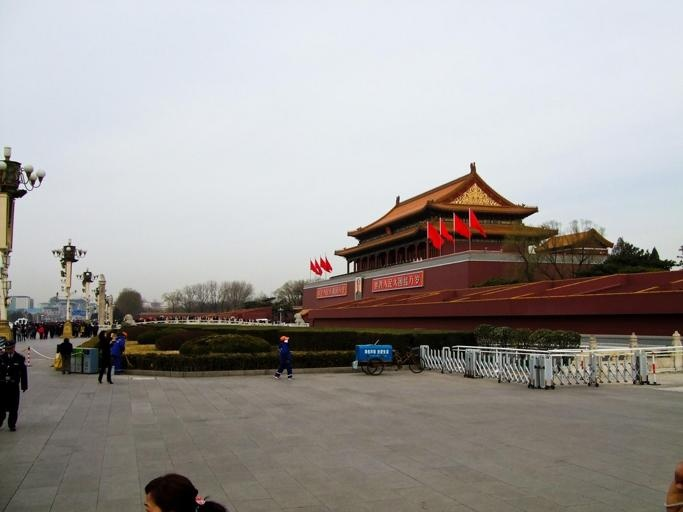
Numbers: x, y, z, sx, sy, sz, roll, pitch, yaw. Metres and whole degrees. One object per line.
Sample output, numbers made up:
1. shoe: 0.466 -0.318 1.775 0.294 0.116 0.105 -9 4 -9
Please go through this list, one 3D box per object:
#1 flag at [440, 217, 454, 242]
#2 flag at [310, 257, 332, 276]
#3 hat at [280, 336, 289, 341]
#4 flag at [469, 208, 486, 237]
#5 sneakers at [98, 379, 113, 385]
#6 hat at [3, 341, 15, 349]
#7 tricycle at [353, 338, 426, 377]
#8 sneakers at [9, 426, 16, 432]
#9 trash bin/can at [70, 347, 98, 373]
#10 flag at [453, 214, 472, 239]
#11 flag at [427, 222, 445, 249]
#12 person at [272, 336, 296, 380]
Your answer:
1. flag: 8.112 -1.964 43.463 0.231 2.512 1.798 -9 -11 38
2. flag: -1.449 0.865 42.922 1.639 1.855 0.127 5 25 15
3. hat: -1.764 2.592 17.634 0.300 0.181 0.432 -2 -11 3
4. flag: 10.251 -2.525 42.673 0.221 2.917 2.041 -16 -22 38
5. sneakers: -6.691 3.617 16.138 0.424 0.196 0.139 4 -1 -29
6. hat: -6.101 1.658 10.420 0.259 0.145 0.314 6 -15 -34
7. tricycle: 1.717 3.581 19.422 2.507 1.001 0.890 1 -6 -8
8. sneakers: -5.656 2.987 9.753 0.112 0.105 0.072 -5 -5 17
9. trash bin/can: -8.519 3.499 18.754 0.732 0.731 0.280 0 -10 -6
10. flag: 8.933 -2.148 41.763 2.000 2.146 0.214 7 -11 -43
11. flag: 7.273 -1.674 42.890 0.186 2.508 1.818 -13 -16 35
12. person: -1.869 3.298 18.604 0.571 1.394 2.645 -2 -10 -6
